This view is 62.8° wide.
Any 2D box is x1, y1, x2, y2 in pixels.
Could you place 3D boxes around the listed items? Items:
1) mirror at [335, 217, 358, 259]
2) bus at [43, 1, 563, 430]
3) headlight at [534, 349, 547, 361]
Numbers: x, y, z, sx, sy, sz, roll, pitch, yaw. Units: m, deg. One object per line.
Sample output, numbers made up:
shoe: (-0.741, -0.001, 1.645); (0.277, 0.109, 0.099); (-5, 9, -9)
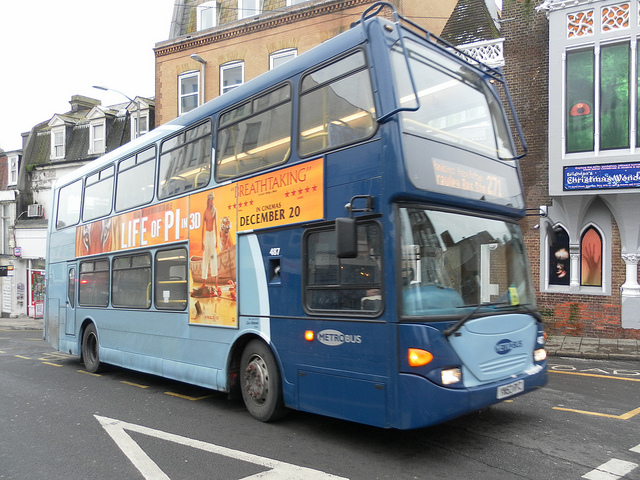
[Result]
mirror: (0.352, -0.036, 6.810); (0.272, 0.526, 0.237); (-1, -1, 3)
bus: (-2.486, 0.143, 11.531); (13.673, 6.053, 3.356); (-4, -3, 43)
headlight: (3.256, 1.710, 7.773); (0.259, 0.116, 0.035); (1, -2, -39)
